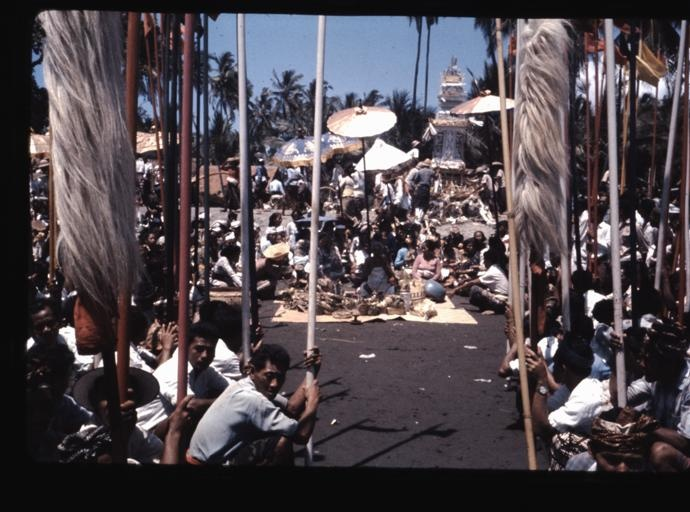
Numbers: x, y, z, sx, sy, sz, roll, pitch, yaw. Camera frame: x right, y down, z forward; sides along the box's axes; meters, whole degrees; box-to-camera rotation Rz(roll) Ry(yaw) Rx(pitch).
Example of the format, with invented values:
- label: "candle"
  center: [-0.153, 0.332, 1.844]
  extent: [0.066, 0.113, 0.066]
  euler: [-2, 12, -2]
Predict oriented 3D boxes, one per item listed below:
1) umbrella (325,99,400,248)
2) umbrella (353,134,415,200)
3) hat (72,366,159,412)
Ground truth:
- label: "umbrella"
  center: [0.319, -1.319, 11.765]
  extent: [0.884, 2.334, 0.946]
  euler: [14, 47, 20]
- label: "umbrella"
  center: [0.661, -1.464, 11.910]
  extent: [0.827, 0.335, 0.835]
  euler: [-18, 15, 31]
- label: "hat"
  center: [-1.511, 0.862, 4.605]
  extent: [0.554, 0.343, 0.227]
  euler: [1, 10, 6]
